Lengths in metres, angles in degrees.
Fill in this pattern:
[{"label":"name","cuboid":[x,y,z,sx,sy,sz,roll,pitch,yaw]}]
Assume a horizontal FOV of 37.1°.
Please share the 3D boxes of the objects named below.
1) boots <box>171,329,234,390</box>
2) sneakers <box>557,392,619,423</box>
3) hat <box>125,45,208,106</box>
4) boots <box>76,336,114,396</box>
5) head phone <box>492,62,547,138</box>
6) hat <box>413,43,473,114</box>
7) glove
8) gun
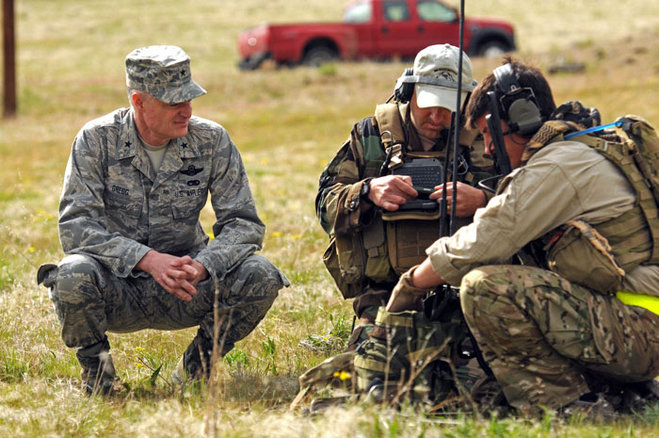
[{"label":"boots","cuboid":[-0.944,1.154,7.996,0.478,0.574,0.575,0,1,-32]},{"label":"sneakers","cuboid":[2.042,1.498,7.695,0.345,0.148,0.250,-7,-3,-27]},{"label":"hat","cuboid":[-1.259,-1.173,8.177,0.752,0.624,0.434,2,2,33]},{"label":"boots","cuboid":[-1.855,1.203,7.864,0.295,0.405,0.443,-5,15,-14]},{"label":"head phone","cuboid":[1.499,-0.910,7.733,0.272,0.434,0.510,-23,-5,0]},{"label":"hat","cuboid":[0.985,-1.234,8.508,0.452,0.359,0.629,7,17,-4]},{"label":"glove","cuboid":[0.604,0.688,7.801,0.388,0.711,0.420,0,1,-1]},{"label":"gun","cuboid":[1.441,-0.286,7.884,0.472,1.408,0.509,3,-1,-43]}]
